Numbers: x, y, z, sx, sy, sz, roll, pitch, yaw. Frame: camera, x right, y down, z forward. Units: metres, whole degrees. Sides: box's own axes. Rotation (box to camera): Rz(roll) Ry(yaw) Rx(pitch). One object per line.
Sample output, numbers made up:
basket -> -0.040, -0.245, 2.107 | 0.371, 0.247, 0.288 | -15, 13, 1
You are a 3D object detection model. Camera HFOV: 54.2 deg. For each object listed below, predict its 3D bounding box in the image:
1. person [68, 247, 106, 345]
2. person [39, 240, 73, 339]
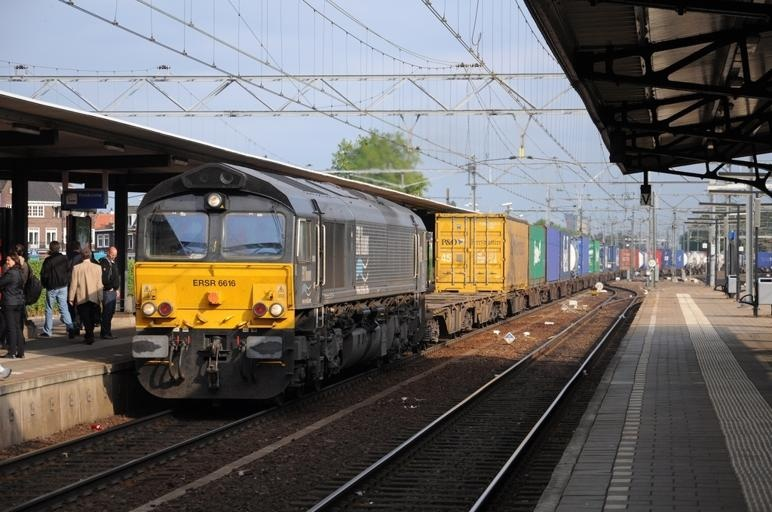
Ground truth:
person -> -6.892, 0.900, 17.563 | 0.718, 1.506, 0.980 | -3, -1, 3
person -> -7.801, 0.798, 17.879 | 0.684, 1.499, 1.273 | -2, -1, -24
